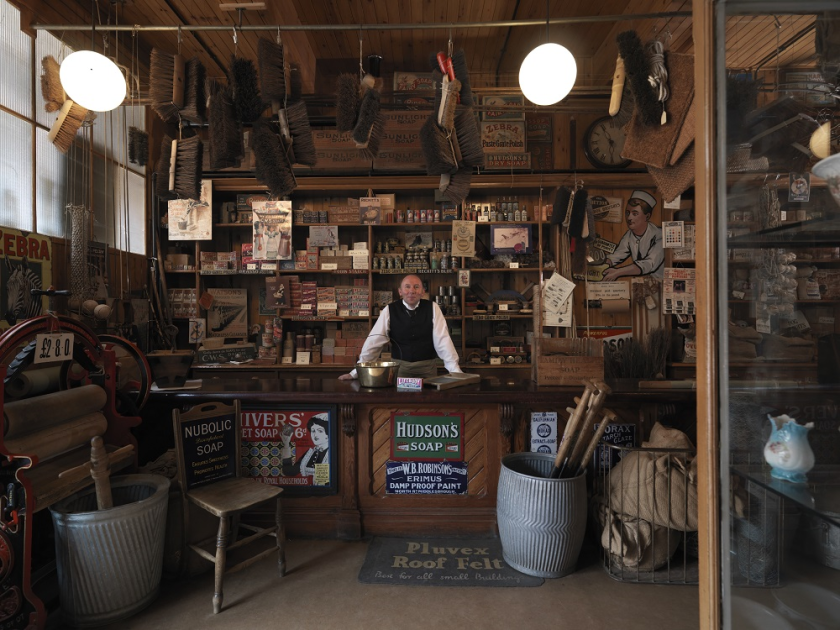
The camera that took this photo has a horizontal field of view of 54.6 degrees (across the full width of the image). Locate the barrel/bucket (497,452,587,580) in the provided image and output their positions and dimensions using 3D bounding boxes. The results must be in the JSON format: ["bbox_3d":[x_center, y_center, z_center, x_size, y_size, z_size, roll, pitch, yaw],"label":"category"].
[{"bbox_3d":[0.747,1.258,5.311,0.664,0.691,0.664,0,-2,0],"label":"barrel/bucket"}]

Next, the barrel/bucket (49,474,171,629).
[{"bbox_3d":[-1.816,1.445,5.070,0.702,0.821,0.744,-2,-4,0],"label":"barrel/bucket"}]

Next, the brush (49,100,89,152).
[{"bbox_3d":[-2.319,-1.259,5.358,0.115,0.327,0.216,38,11,24],"label":"brush"}]

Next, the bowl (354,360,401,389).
[{"bbox_3d":[-0.316,0.428,5.690,0.203,0.100,0.198,-1,-8,0],"label":"bowl"}]

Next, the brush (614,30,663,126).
[{"bbox_3d":[1.196,-1.295,4.419,0.230,0.487,0.069,-1,0,17],"label":"brush"}]

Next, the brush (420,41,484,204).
[{"bbox_3d":[0.196,-1.327,5.479,0.368,0.880,0.495,-1,0,28],"label":"brush"}]

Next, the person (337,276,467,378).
[{"bbox_3d":[-0.087,0.097,6.532,0.916,0.823,0.501,0,0,5],"label":"person"}]

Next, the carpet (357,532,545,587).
[{"bbox_3d":[0.230,1.602,5.349,1.060,0.025,0.714,0,11,4],"label":"carpet"}]

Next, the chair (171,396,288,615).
[{"bbox_3d":[-1.194,1.166,5.157,0.584,1.156,0.585,8,10,41],"label":"chair"}]

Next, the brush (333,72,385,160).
[{"bbox_3d":[-0.420,-1.341,5.417,0.140,0.498,0.343,8,8,44],"label":"brush"}]
